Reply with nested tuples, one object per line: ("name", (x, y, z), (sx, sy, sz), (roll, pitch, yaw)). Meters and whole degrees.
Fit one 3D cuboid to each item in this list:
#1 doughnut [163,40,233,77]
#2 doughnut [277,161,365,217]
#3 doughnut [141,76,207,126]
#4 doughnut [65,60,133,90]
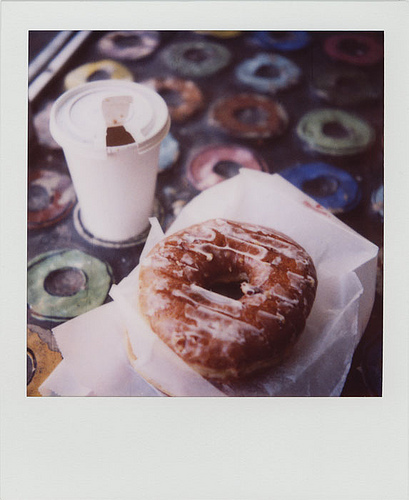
("doughnut", (-0.014, -0.515, 1.485), (0.146, 0.014, 0.105), (9, 69, 2))
("doughnut", (0.324, -0.173, 1.479), (0.216, 0.114, 0.092), (19, 43, 23))
("doughnut", (-0.089, -0.383, 1.456), (0.153, 0.037, 0.152), (39, 63, 19))
("doughnut", (-0.280, -0.472, 1.465), (0.110, 0.032, 0.103), (25, 50, 21))
